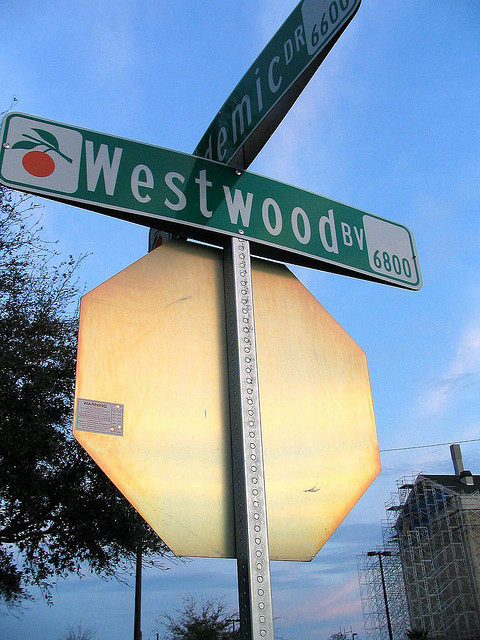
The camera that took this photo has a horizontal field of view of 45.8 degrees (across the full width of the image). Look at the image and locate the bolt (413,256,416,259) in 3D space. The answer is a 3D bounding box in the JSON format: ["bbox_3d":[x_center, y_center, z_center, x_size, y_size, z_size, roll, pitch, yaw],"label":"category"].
[{"bbox_3d":[0.675,-0.241,2.201,0.013,0.010,0.003,-1,-7,-10],"label":"bolt"}]

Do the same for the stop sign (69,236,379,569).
[{"bbox_3d":[-0.018,0.208,1.652,0.947,1.017,0.016,20,-38,-33],"label":"stop sign"}]

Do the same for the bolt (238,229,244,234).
[{"bbox_3d":[0.000,-0.274,1.777,0.011,0.013,0.003,2,-11,-16],"label":"bolt"}]
